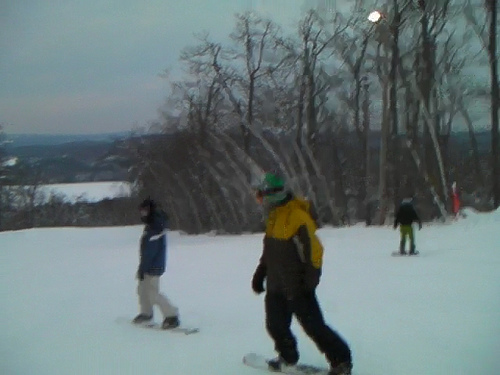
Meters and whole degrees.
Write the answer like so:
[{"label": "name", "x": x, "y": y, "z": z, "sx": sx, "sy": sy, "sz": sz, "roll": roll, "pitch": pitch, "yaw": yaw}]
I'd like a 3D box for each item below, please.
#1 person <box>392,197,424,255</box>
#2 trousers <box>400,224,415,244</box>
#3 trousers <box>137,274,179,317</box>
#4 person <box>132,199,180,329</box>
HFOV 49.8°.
[{"label": "person", "x": 5.087, "y": 1.317, "z": 17.379, "sx": 0.832, "sy": 1.939, "sz": 1.128, "roll": -5, "pitch": 4, "yaw": 17}, {"label": "trousers", "x": 5.062, "y": 1.496, "z": 17.198, "sx": 0.604, "sy": 0.734, "sz": 0.334, "roll": -9, "pitch": 4, "yaw": -35}, {"label": "trousers", "x": -1.963, "y": 2.149, "z": 11.017, "sx": 1.006, "sy": 1.075, "sz": 0.442, "roll": -6, "pitch": 0, "yaw": 25}, {"label": "person", "x": -1.971, "y": 1.547, "z": 10.939, "sx": 0.936, "sy": 2.110, "sz": 0.532, "roll": -4, "pitch": 4, "yaw": 29}]
